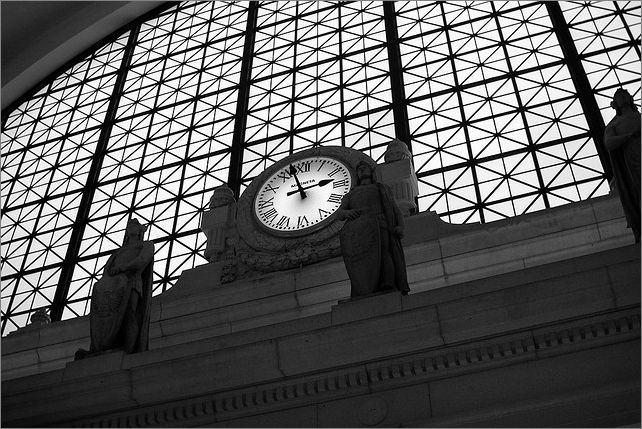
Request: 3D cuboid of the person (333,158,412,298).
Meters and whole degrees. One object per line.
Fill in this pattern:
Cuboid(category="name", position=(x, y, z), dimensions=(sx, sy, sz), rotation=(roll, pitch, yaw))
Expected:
Cuboid(category="person", position=(0.963, 0.452, 23.111), dimensions=(1.206, 2.350, 0.514), rotation=(-8, -35, 0))

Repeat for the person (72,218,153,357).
Cuboid(category="person", position=(-3.908, 1.578, 24.146), dimensions=(1.181, 2.304, 0.683), rotation=(2, -36, -14))
